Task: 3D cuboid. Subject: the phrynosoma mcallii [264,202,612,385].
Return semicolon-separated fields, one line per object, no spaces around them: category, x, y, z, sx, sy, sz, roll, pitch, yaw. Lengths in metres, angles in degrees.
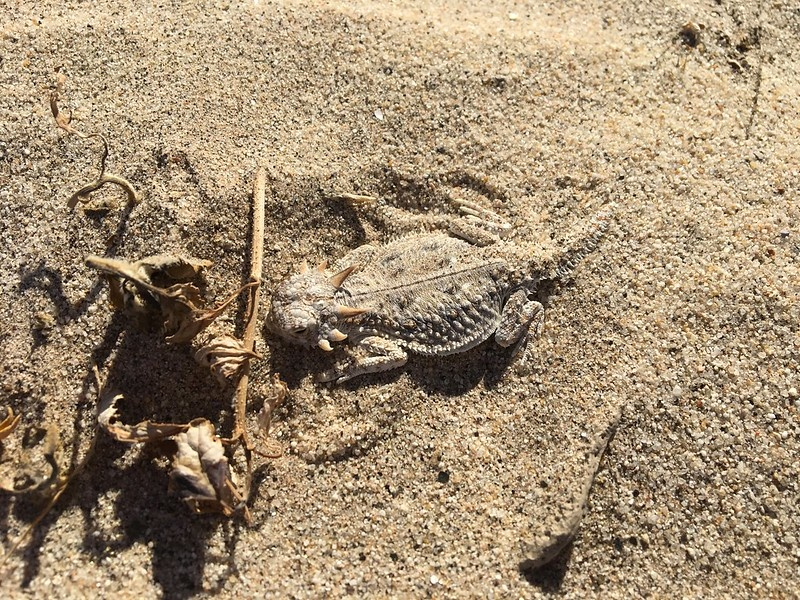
phrynosoma mcallii;0.498;-0.083;11.489;4.057;1.142;2.272;-20;37;-14
